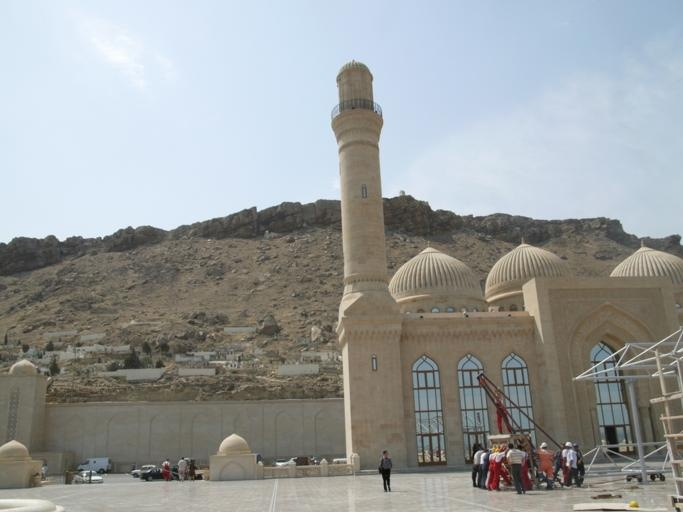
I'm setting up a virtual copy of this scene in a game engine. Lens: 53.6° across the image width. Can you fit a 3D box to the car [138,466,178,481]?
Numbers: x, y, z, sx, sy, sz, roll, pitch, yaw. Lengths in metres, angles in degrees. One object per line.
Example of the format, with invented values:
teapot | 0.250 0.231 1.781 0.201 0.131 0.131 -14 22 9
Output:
car | -11.908 14.043 43.551 2.668 0.937 1.542 -1 -12 -4
